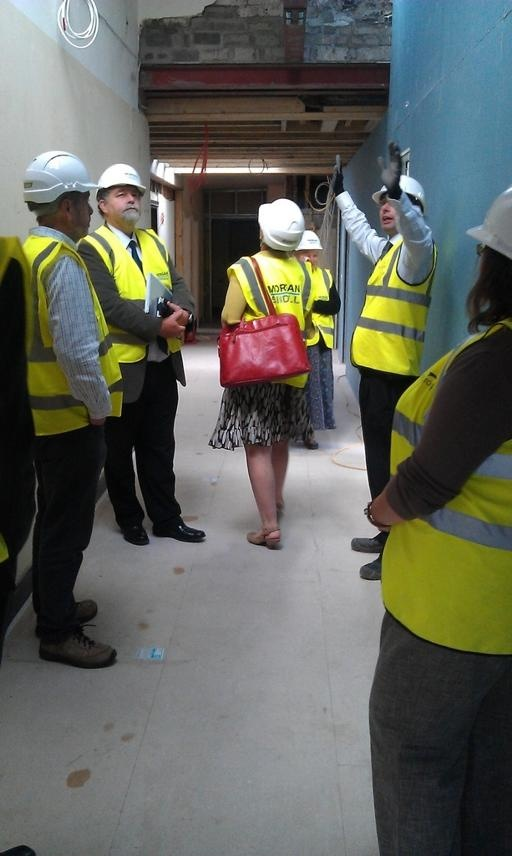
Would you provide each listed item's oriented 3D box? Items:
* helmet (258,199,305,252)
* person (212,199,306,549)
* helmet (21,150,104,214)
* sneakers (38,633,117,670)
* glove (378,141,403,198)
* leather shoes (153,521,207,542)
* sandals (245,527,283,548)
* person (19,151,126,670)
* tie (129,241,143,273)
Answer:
[{"bbox_3d":[0.108,-0.873,2.575,0.177,0.230,0.237,0,12,1],"label":"helmet"},{"bbox_3d":[0.025,-0.230,2.739,0.441,1.552,0.507,1,12,5],"label":"person"},{"bbox_3d":[-0.588,-0.740,1.829,0.221,0.197,0.179,-10,17,-38],"label":"helmet"},{"bbox_3d":[-0.552,0.703,1.886,0.219,0.111,0.105,4,0,0],"label":"sneakers"},{"bbox_3d":[0.479,-0.907,2.128,0.087,0.209,0.061,9,-1,23],"label":"glove"},{"bbox_3d":[-0.354,0.507,2.918,0.272,0.120,0.095,1,6,11],"label":"leather shoes"},{"bbox_3d":[0.041,0.508,2.777,0.066,0.088,0.199,-5,8,-26],"label":"sandals"},{"bbox_3d":[-0.566,-0.032,1.783,0.323,1.564,0.515,-3,12,-14],"label":"person"},{"bbox_3d":[-0.523,-0.762,2.639,0.044,0.130,0.080,3,12,14],"label":"tie"}]
